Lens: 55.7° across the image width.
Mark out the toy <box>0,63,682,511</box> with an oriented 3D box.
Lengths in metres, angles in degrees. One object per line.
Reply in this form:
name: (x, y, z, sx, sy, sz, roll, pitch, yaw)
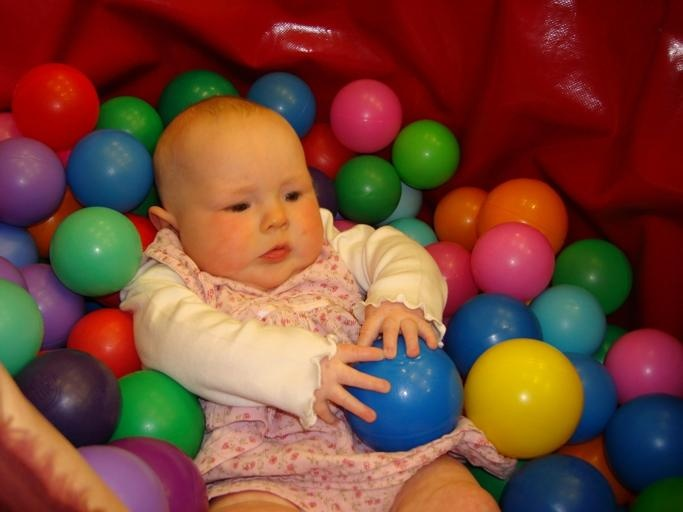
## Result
toy: (-0.168, 0.147, 1.972, 1.192, 0.787, 1.388, 7, 64, 2)
